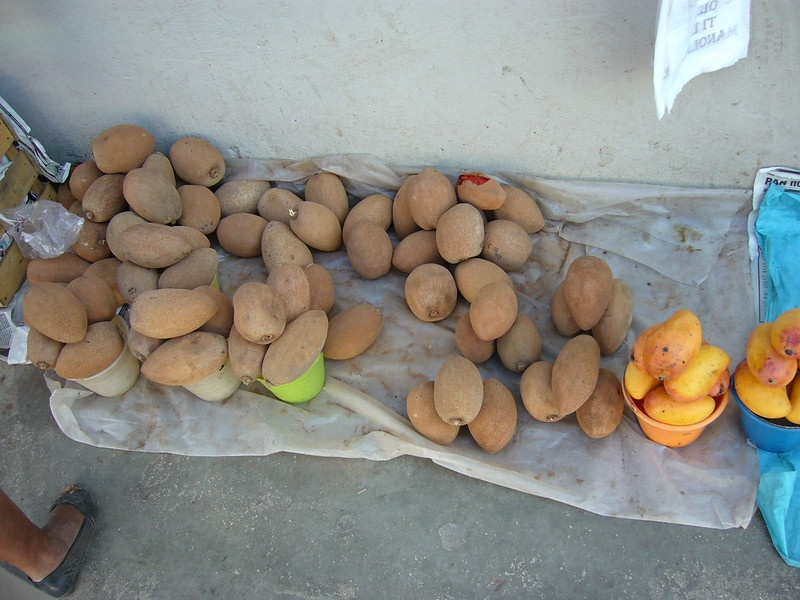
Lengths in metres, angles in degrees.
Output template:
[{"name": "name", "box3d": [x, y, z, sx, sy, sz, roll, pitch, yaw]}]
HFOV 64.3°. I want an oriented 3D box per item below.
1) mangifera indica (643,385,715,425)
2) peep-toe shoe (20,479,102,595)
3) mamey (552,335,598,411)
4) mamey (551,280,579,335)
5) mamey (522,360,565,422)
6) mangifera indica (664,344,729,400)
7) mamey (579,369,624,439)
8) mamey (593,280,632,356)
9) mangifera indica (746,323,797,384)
[{"name": "mangifera indica", "box3d": [1.032, 0.396, 2.356, 0.198, 0.119, 0.133, -3, 33, -1]}, {"name": "peep-toe shoe", "box3d": [-1.258, 0.897, 2.417, 0.199, 0.117, 0.462, -2, 75, 27]}, {"name": "mamey", "box3d": [0.683, 0.270, 2.423, 0.190, 0.110, 0.323, -2, 53, 32]}, {"name": "mamey", "box3d": [0.685, 0.025, 2.686, 0.126, 0.117, 0.204, 8, 101, 12]}, {"name": "mamey", "box3d": [0.561, 0.368, 2.526, 0.161, 0.117, 0.213, -30, 61, 18]}, {"name": "mangifera indica", "box3d": [1.066, 0.271, 2.325, 0.249, 0.139, 0.132, -38, 68, -3]}, {"name": "mamey", "box3d": [0.772, 0.414, 2.481, 0.158, 0.134, 0.252, 27, 60, -24]}, {"name": "mamey", "box3d": [0.890, 0.085, 2.656, 0.149, 0.143, 0.306, -10, 76, 52]}, {"name": "mangifera indica", "box3d": [1.303, 0.205, 2.266, 0.127, 0.124, 0.217, 18, 61, -12]}]
